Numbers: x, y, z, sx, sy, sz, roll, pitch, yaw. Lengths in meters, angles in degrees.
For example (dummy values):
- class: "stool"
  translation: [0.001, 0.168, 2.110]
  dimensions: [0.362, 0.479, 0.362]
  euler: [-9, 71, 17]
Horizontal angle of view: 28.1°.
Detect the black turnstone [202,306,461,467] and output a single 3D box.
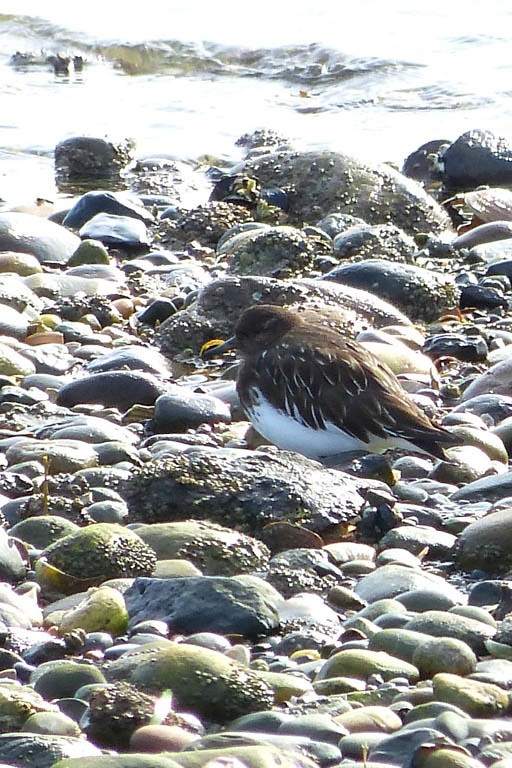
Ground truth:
- class: "black turnstone"
  translation: [0.305, 0.042, 4.407]
  dimensions: [1.217, 0.663, 0.576]
  euler: [7, 8, 23]
